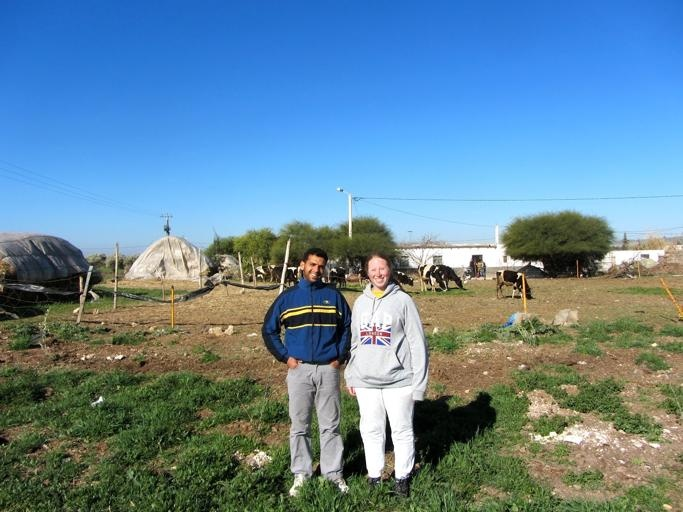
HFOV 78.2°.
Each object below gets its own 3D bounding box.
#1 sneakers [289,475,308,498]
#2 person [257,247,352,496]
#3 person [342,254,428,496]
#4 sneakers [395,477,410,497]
[{"bbox_3d":[-0.476,2.488,4.623,0.166,0.220,0.070,-13,-35,43],"label":"sneakers"},{"bbox_3d":[-0.381,1.260,4.798,0.962,2.673,0.833,0,7,0],"label":"person"},{"bbox_3d":[0.491,1.310,4.739,0.916,2.653,0.581,1,7,9],"label":"person"},{"bbox_3d":[0.661,2.497,4.586,0.188,0.173,0.184,0,-6,-1],"label":"sneakers"}]
